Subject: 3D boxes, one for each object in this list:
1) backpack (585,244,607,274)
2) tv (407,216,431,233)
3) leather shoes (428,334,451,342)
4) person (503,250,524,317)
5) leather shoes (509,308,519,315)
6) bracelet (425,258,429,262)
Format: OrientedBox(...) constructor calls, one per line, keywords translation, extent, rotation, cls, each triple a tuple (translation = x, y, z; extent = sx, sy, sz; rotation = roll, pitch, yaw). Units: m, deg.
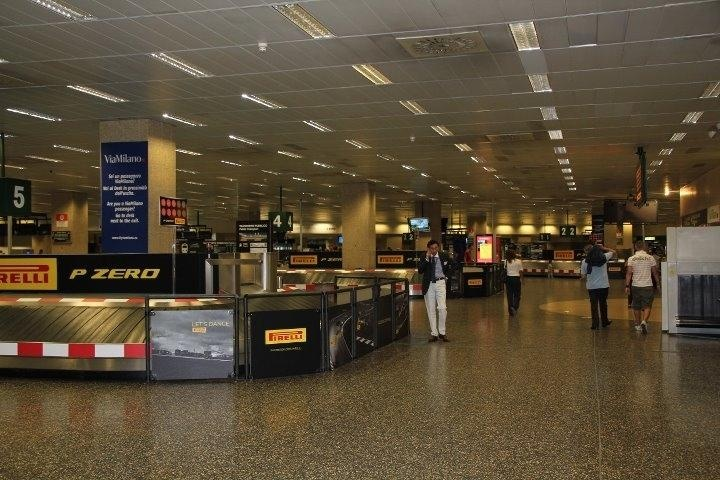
OrientedBox(translation=(5.781, 0.503, 12.379), extent=(0.589, 0.666, 0.290), rotation=(0, -2, 9), cls="backpack")
OrientedBox(translation=(3.908, -0.942, 33.025), extent=(1.740, 0.975, 0.859), rotation=(0, -6, 8), cls="tv")
OrientedBox(translation=(1.735, 2.149, 11.081), extent=(0.517, 0.186, 0.154), rotation=(4, -1, 0), cls="leather shoes")
OrientedBox(translation=(4.837, 1.265, 15.758), extent=(0.504, 2.022, 1.497), rotation=(0, 1, 16), cls="person")
OrientedBox(translation=(4.727, 2.197, 15.357), extent=(0.149, 0.177, 0.469), rotation=(3, 5, 31), cls="leather shoes")
OrientedBox(translation=(1.446, 0.424, 10.721), extent=(0.110, 0.088, 0.079), rotation=(0, 1, -15), cls="bracelet")
